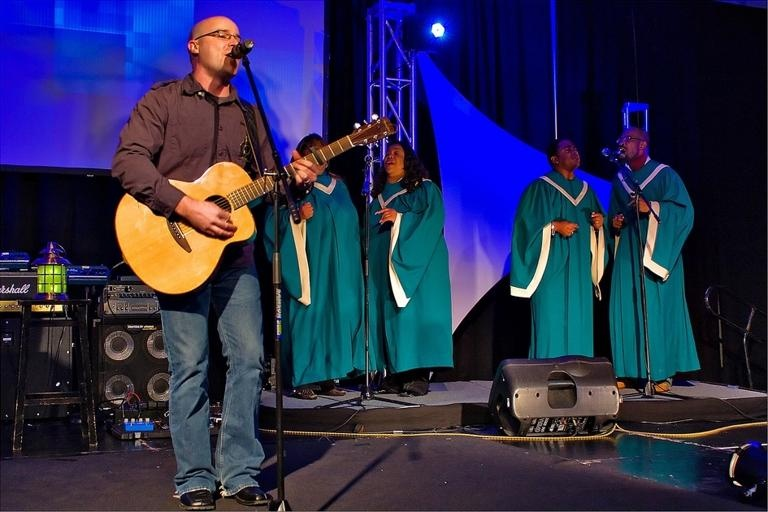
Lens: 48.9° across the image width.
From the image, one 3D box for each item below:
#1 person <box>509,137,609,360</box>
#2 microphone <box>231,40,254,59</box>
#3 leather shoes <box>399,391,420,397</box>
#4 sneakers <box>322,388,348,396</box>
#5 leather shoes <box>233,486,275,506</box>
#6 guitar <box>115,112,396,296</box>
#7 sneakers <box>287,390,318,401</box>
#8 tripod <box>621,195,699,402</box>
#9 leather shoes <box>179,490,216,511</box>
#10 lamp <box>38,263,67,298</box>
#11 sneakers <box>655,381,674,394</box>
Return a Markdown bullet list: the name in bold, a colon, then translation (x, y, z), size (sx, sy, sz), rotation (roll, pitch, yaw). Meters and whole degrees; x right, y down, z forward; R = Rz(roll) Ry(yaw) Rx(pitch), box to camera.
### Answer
- **person**: translation (1.821, -0.096, 9.042), size (0.897, 2.265, 0.721), rotation (1, 6, 8)
- **microphone**: translation (-1.003, -1.431, 5.898), size (0.085, 0.086, 0.246), rotation (6, -10, -28)
- **leather shoes**: translation (0.237, 1.349, 8.325), size (0.186, 0.038, 0.059), rotation (1, 6, 4)
- **sneakers**: translation (-0.492, 1.349, 8.382), size (0.225, 0.102, 0.079), rotation (-1, -5, 5)
- **leather shoes**: translation (-0.912, 1.660, 5.902), size (0.270, 0.106, 0.136), rotation (-3, -11, 25)
- **guitar**: translation (-0.942, -0.374, 6.124), size (1.899, 0.785, 0.215), rotation (-28, 1, -6)
- **sneakers**: translation (-0.794, 1.352, 8.242), size (0.291, 0.122, 0.103), rotation (-12, -16, 31)
- **tripod**: translation (2.826, 0.190, 8.904), size (0.925, 2.301, 0.853), rotation (2, 6, 14)
- **leather shoes**: translation (-1.288, 1.676, 5.831), size (0.205, 0.077, 0.125), rotation (3, 9, 4)
- **lamp**: translation (-3.035, 0.241, 7.851), size (0.312, 0.385, 0.274), rotation (1, -6, -16)
- **sneakers**: translation (2.862, 1.353, 8.677), size (0.095, 0.079, 0.168), rotation (-5, -5, -10)
